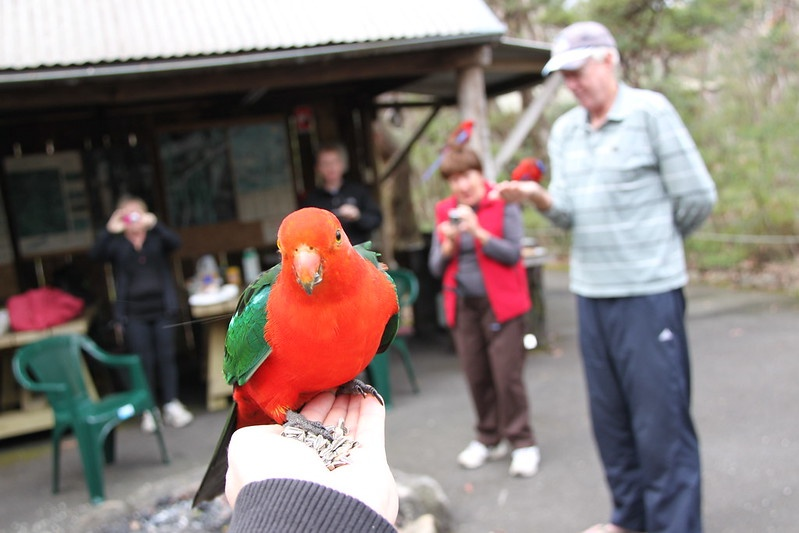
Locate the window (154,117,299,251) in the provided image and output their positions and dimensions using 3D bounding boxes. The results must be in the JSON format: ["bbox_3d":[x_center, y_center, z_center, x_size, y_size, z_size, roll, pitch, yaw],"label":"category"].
[{"bbox_3d":[-0.898,-0.476,3.994,0.022,0.651,0.985,-4,6,35],"label":"window"}]

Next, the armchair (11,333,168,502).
[{"bbox_3d":[-1.957,0.926,4.784,0.712,0.980,0.751,-7,8,3],"label":"armchair"}]

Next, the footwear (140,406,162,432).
[{"bbox_3d":[-1.675,1.018,4.914,0.103,0.173,0.166,-2,-9,10],"label":"footwear"}]

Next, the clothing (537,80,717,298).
[{"bbox_3d":[1.034,-0.292,3.528,0.762,1.101,0.840,-6,2,-32],"label":"clothing"}]

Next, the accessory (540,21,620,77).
[{"bbox_3d":[0.754,-0.884,3.110,0.257,0.143,0.190,-22,12,-15],"label":"accessory"}]

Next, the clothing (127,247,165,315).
[{"bbox_3d":[-0.941,0.061,2.749,0.138,0.203,0.322,-10,11,-18],"label":"clothing"}]

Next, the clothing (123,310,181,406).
[{"bbox_3d":[-1.148,0.428,3.550,0.214,0.653,0.155,0,32,-6],"label":"clothing"}]

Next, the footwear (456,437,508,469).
[{"bbox_3d":[0.462,1.049,4.172,0.261,0.105,0.148,-18,-6,-22],"label":"footwear"}]
